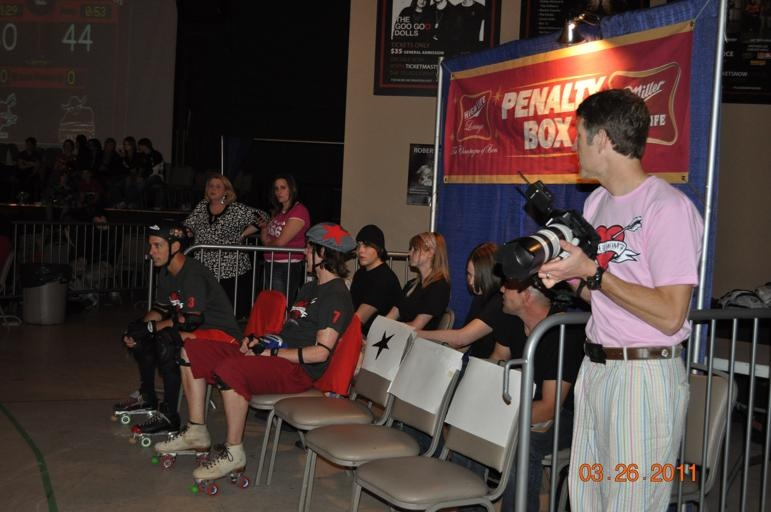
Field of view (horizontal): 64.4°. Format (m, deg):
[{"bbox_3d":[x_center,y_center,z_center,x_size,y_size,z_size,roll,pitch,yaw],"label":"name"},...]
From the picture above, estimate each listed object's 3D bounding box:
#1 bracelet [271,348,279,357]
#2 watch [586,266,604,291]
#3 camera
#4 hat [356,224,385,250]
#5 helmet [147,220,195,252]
[{"bbox_3d":[-0.957,0.817,5.206,0.060,0.062,0.020,8,-11,1],"label":"bracelet"},{"bbox_3d":[1.136,0.122,3.341,0.073,0.119,0.087,9,6,-34],"label":"watch"},{"bbox_3d":[0.877,-0.157,3.467,0.493,0.636,0.307,-7,-31,-33],"label":"camera"},{"bbox_3d":[-0.134,-0.177,6.512,0.268,0.239,0.263,28,-1,16],"label":"hat"},{"bbox_3d":[-2.070,-0.190,5.873,0.363,0.287,0.274,-4,10,-32],"label":"helmet"}]
